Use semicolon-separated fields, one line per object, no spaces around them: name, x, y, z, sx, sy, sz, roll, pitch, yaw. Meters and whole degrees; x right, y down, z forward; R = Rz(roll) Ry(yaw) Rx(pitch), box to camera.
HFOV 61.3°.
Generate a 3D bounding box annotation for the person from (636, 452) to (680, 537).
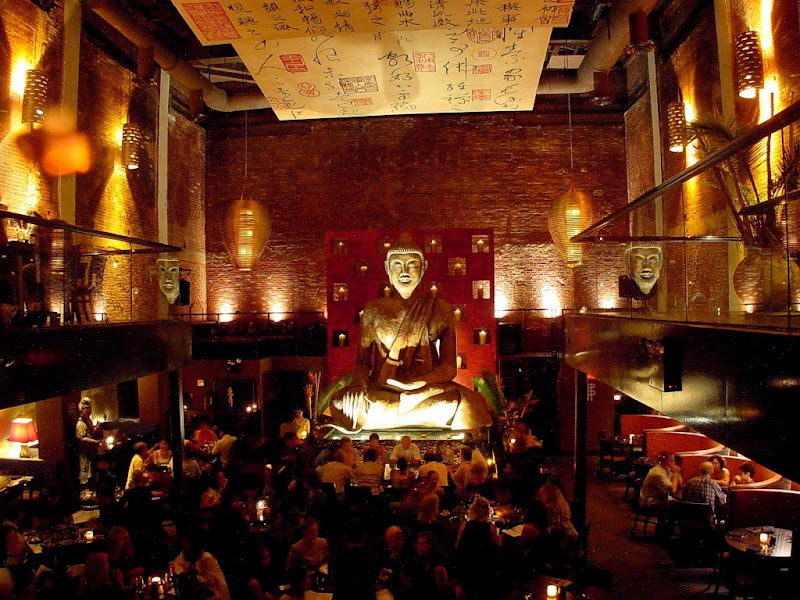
person;3.866;2.911;10.089;0.693;0.523;1.233;8;87;4
